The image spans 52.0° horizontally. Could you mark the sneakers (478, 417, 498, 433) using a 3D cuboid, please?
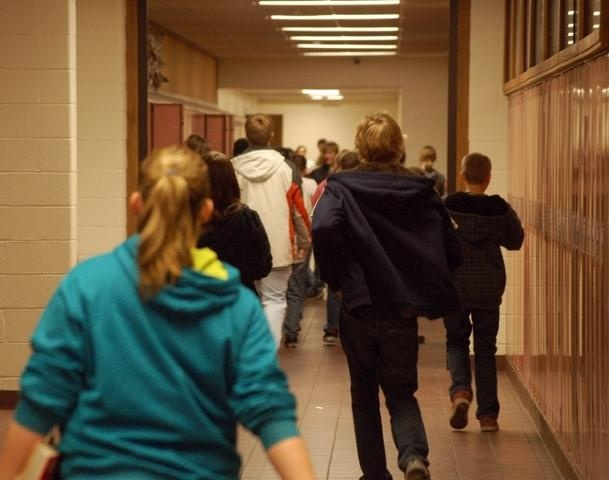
[{"bbox_3d":[1.164,1.157,3.927,0.059,0.073,0.165,0,2,9],"label":"sneakers"}]

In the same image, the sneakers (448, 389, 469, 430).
[{"bbox_3d":[0.967,1.074,3.886,0.094,0.271,0.105,5,18,-1],"label":"sneakers"}]
